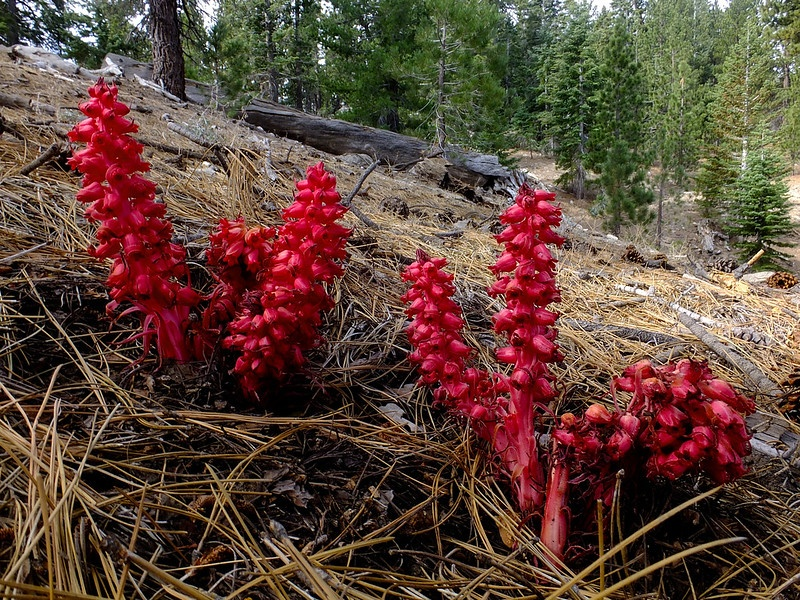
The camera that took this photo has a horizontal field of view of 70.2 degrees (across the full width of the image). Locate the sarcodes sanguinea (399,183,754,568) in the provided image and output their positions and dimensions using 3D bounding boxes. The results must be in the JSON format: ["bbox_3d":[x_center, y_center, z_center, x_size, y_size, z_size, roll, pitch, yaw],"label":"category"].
[{"bbox_3d":[0.654,0.243,2.220,0.643,1.271,1.274,-17,33,-42],"label":"sarcodes sanguinea"}]

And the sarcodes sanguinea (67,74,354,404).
[{"bbox_3d":[-0.822,-0.252,2.473,1.133,1.244,0.549,14,26,17],"label":"sarcodes sanguinea"}]
